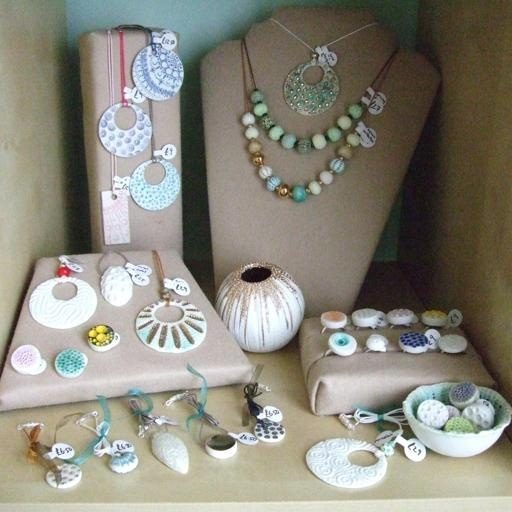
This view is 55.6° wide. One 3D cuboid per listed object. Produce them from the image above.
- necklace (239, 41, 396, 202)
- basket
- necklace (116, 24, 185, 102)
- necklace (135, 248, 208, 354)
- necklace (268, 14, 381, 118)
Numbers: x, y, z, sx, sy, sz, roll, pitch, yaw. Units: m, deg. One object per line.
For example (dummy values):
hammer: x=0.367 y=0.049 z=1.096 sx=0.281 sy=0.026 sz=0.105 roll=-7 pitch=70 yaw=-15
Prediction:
necklace: x=0.134 y=-0.256 z=0.964 sx=0.338 sy=0.341 sz=0.044 roll=6 pitch=1 yaw=13
basket: x=0.237 y=0.174 z=0.578 sx=0.099 sy=0.037 sz=0.095 roll=-17 pitch=27 yaw=-17
necklace: x=-0.211 y=-0.361 z=0.910 sx=0.133 sy=0.135 sz=0.072 roll=13 pitch=12 yaw=26
necklace: x=-0.143 y=0.076 z=0.792 sx=0.085 sy=0.020 sz=0.178 roll=-3 pitch=38 yaw=-18
necklace: x=0.142 y=-0.372 z=0.971 sx=0.234 sy=0.206 sz=0.043 roll=3 pitch=-1 yaw=-3
